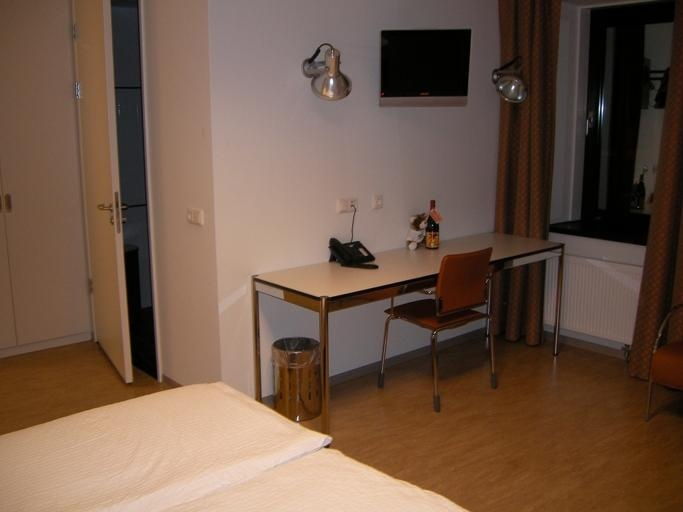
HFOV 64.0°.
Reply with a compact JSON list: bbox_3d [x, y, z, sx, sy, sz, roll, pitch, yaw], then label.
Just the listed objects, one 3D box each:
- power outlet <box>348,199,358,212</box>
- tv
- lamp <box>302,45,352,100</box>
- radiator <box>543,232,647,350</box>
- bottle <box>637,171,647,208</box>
[{"bbox_3d":[0.083,-0.350,3.702,0.015,0.066,0.067,8,7,39],"label":"power outlet"},{"bbox_3d":[0.589,-1.312,3.802,0.725,0.490,0.102,-11,17,-27],"label":"tv"},{"bbox_3d":[-0.082,-1.092,3.167,0.279,0.271,0.250,24,54,12],"label":"lamp"},{"bbox_3d":[1.997,0.254,4.241,0.770,0.717,0.083,13,16,42],"label":"radiator"},{"bbox_3d":[2.448,-0.541,4.457,0.059,0.313,0.078,0,15,9],"label":"bottle"}]
